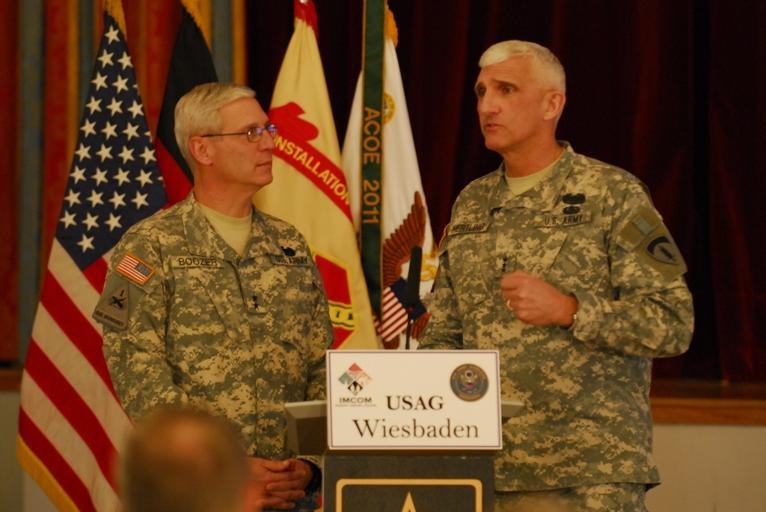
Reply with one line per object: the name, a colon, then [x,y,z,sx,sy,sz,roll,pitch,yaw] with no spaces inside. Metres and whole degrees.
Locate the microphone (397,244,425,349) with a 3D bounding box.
microphone: [0.133,0.089,4.419,0.083,0.541,0.072,10,-24,-1]

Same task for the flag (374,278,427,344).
flag: [0.054,0.232,5.437,0.286,0.291,0.082,-38,-18,6]

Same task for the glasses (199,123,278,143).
glasses: [-0.598,-0.539,4.741,0.172,0.046,0.139,-6,-2,24]

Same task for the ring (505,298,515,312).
ring: [0.513,0.191,4.423,0.030,0.043,0.016,-21,-8,42]
